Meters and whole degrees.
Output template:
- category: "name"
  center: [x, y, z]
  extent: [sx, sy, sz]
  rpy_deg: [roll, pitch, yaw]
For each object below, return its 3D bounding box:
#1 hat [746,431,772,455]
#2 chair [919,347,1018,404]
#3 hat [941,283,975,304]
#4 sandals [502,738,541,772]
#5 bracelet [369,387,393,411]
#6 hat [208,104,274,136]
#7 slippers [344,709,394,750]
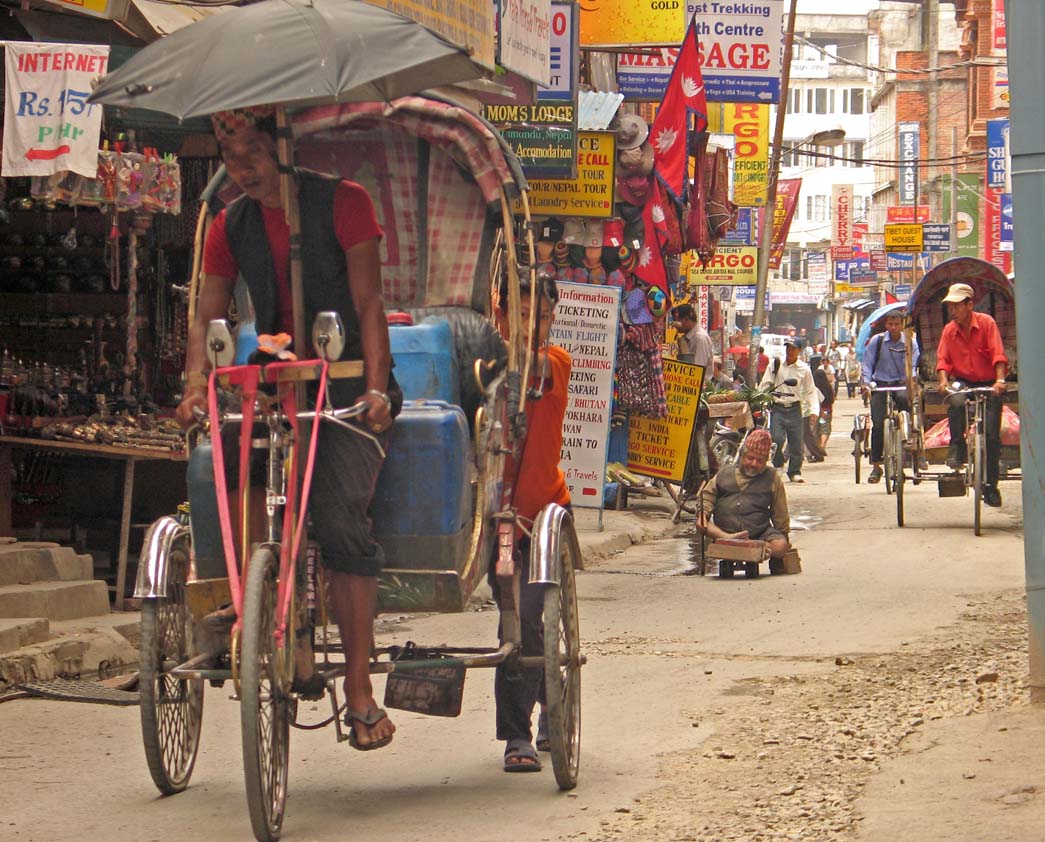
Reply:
- category: "hat"
  center: [1.851, 0.165, 15.641]
  extent: [0.192, 0.169, 0.270]
  rpy_deg: [-2, -1, 5]
- category: "chair"
  center: [4.002, -0.366, 17.779]
  extent: [0.696, 0.482, 0.448]
  rpy_deg: [-4, 8, -8]
- category: "hat"
  center: [3.939, -1.162, 17.942]
  extent: [0.195, 0.172, 0.326]
  rpy_deg: [0, -3, 33]
- category: "sandals"
  center: [-0.004, 1.581, 9.437]
  extent: [0.109, 0.117, 0.275]
  rpy_deg: [1, -14, -2]
- category: "bracelet"
  center: [-0.610, -0.096, 8.552]
  extent: [0.112, 0.072, 0.087]
  rpy_deg: [-1, -1, -17]
- category: "hat"
  center: [-1.210, -1.306, 8.665]
  extent: [0.266, 0.090, 0.077]
  rpy_deg: [-1, -1, -10]
- category: "slippers"
  center: [-0.675, 1.350, 8.739]
  extent: [0.205, 0.156, 0.149]
  rpy_deg: [-1, -1, -4]
